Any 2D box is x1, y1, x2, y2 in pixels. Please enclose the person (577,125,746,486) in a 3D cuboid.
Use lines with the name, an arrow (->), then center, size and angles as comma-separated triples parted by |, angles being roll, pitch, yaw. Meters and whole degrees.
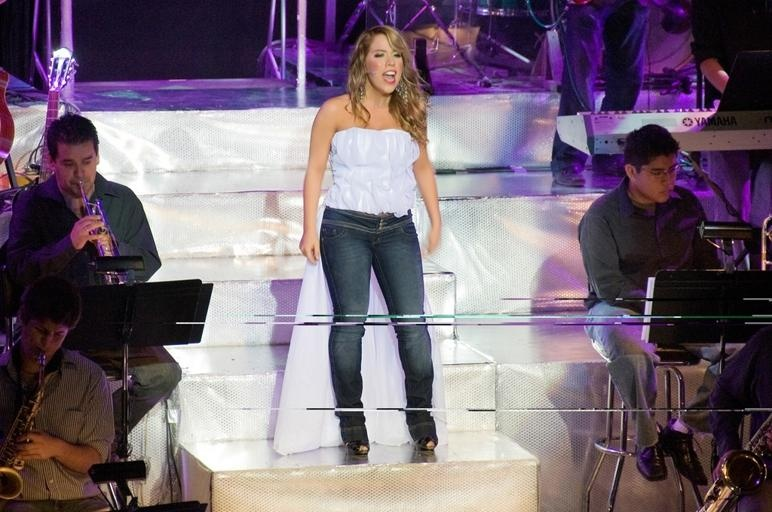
person -> 0.618, 0.096, 1.770 | 0.307, 0.756, 0.398 | -1, 1, 7

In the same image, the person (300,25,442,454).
person -> -0.030, -0.057, 2.223 | 0.434, 1.227, 0.356 | -2, -3, -7
